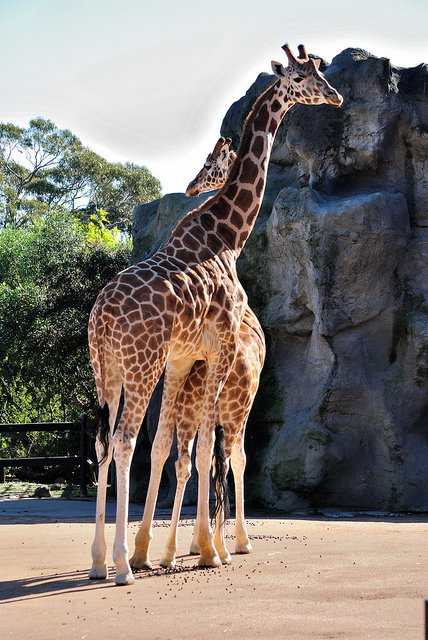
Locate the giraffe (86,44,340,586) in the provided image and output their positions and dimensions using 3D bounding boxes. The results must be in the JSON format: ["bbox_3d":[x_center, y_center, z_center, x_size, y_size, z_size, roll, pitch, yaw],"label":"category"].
[{"bbox_3d":[-0.117,-0.170,8.816,1.820,4.571,4.274,3,-2,-4],"label":"giraffe"}]
